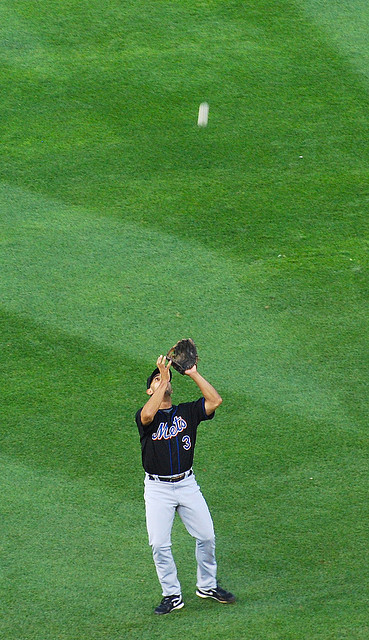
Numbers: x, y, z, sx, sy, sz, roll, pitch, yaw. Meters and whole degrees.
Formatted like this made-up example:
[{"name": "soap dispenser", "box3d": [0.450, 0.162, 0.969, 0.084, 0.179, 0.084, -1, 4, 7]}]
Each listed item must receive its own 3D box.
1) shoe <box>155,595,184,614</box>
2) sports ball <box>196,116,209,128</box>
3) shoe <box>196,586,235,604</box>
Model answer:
[{"name": "shoe", "box3d": [-0.119, 2.228, 8.256, 0.247, 0.095, 0.108, -11, 109, -35]}, {"name": "sports ball", "box3d": [0.231, -2.591, 13.769, 0.147, 0.141, 0.140, -1, 36, 0]}, {"name": "shoe", "box3d": [0.255, 2.169, 8.408, 0.307, 0.119, 0.138, 4, 106, 17]}]
